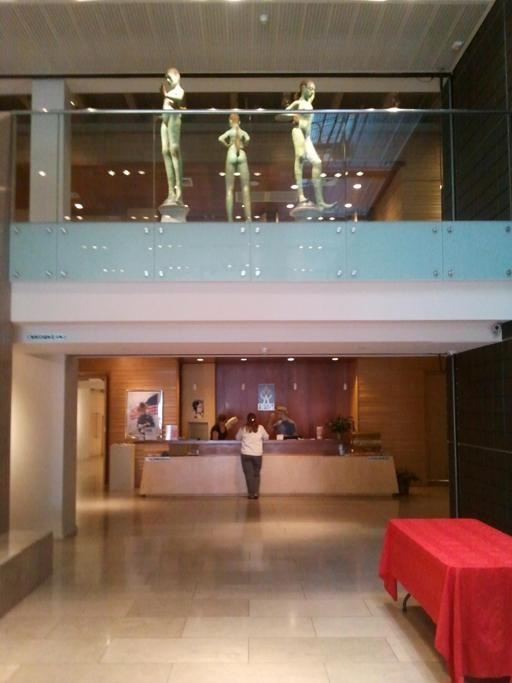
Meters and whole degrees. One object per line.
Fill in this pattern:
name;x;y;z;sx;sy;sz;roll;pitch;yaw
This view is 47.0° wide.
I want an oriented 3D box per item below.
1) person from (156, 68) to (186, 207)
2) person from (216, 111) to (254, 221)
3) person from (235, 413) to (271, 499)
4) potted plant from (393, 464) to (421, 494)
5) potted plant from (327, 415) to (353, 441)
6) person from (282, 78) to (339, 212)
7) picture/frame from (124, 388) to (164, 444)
person;-0.852;-2.039;5.923;0.228;1.598;0.664;1;-6;-9
person;-0.215;-1.712;5.754;0.315;1.181;0.362;0;-6;-5
person;-0.051;1.981;10.179;0.445;1.447;0.518;1;-6;-8
potted plant;2.727;2.517;10.806;0.437;0.509;0.465;-7;-10;31
potted plant;1.628;1.756;11.509;0.490;0.591;0.538;-2;5;10
person;0.498;-1.966;5.880;0.470;1.381;0.433;3;-10;-9
picture/frame;-2.277;1.504;12.129;0.937;1.562;0.105;0;-4;3
